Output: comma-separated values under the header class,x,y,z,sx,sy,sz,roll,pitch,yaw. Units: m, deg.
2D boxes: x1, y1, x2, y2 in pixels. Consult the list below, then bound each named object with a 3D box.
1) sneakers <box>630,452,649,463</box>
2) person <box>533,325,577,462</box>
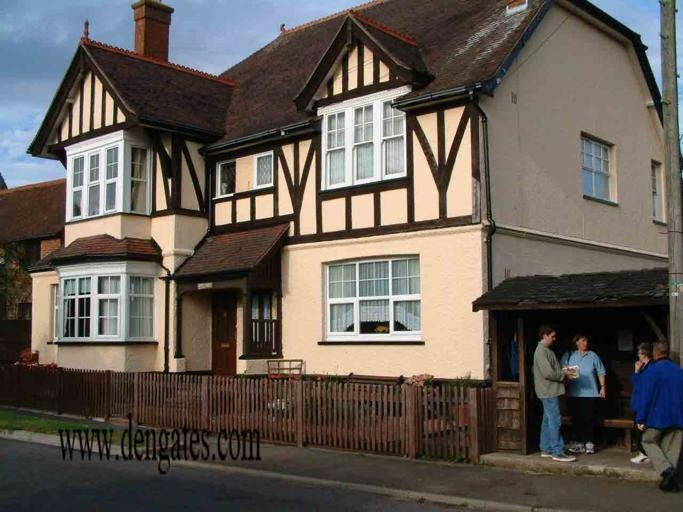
class,x,y,z,sx,sy,sz,roll,pitch,yaw
sneakers,5.477,3.701,15.758,0.252,0.119,0.155,3,-11,-24
person,4.021,2.627,16.279,0.724,2.483,1.167,-1,9,12
